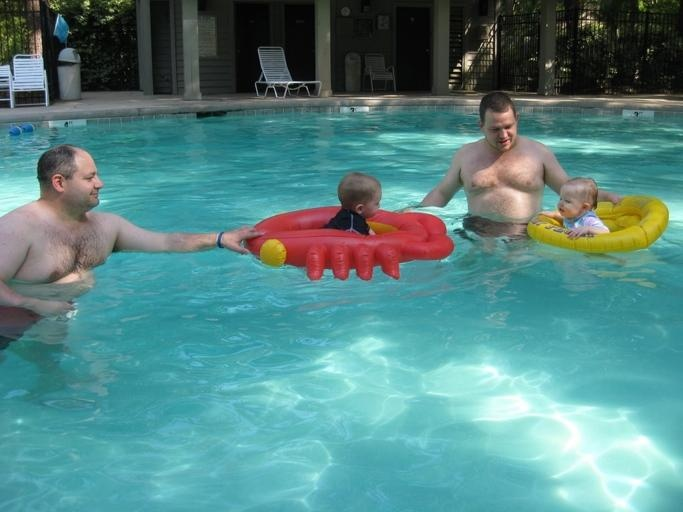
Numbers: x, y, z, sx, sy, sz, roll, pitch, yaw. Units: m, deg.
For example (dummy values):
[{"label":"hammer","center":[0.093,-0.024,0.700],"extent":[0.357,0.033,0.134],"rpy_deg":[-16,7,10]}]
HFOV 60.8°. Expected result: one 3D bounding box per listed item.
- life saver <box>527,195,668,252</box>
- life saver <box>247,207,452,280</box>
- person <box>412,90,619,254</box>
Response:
[{"label":"life saver","center":[1.695,-0.167,3.855],"extent":[0.651,0.149,0.615],"rpy_deg":[-4,14,32]},{"label":"life saver","center":[0.122,-0.059,3.548],"extent":[0.792,0.157,0.707],"rpy_deg":[-2,10,-18]},{"label":"person","center":[1.225,-0.599,4.352],"extent":[1.751,1.002,0.437],"rpy_deg":[1,15,28]}]
